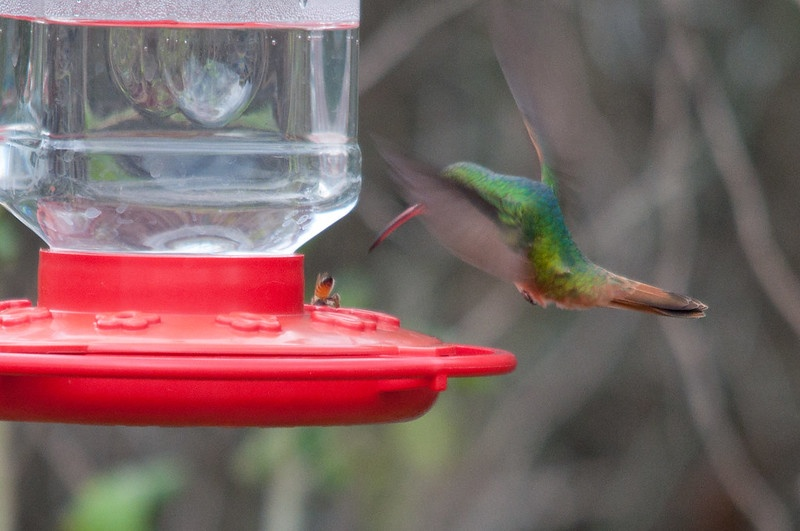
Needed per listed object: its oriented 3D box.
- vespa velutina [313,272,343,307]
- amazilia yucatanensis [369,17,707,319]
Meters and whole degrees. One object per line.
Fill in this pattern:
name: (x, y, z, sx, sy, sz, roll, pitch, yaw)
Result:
vespa velutina: (-0.146, 0.052, 2.321, 0.069, 0.075, 0.070, -7, -2, 43)
amazilia yucatanensis: (0.219, -0.198, 2.370, 0.679, 0.403, 0.592, 20, 17, 17)
